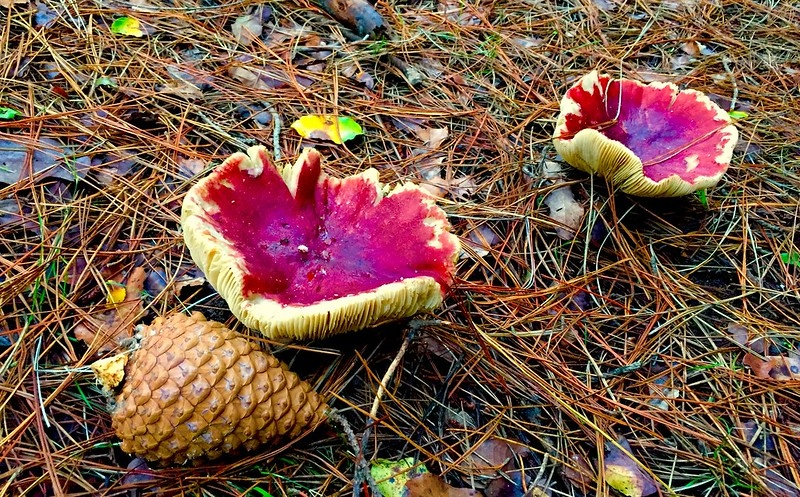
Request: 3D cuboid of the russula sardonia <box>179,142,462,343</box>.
[{"bbox_3d":[-0.662,-0.109,5.886,2.048,0.614,1.603,-11,60,-12],"label":"russula sardonia"}]
